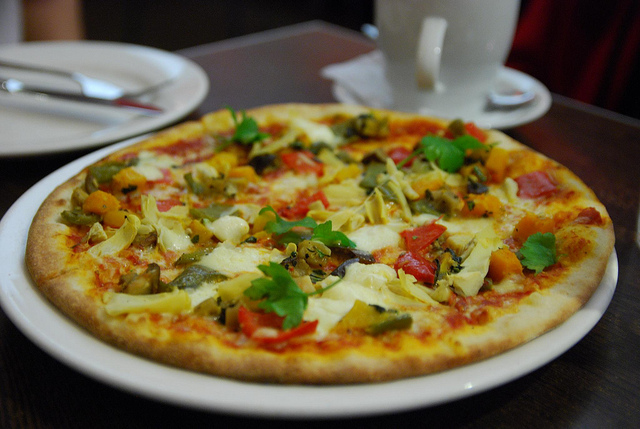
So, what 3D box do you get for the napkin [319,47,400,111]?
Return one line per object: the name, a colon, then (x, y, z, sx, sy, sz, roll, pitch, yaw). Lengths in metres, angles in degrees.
napkin: (0.204, -0.703, 2.915, 0.375, 0.047, 0.420, -11, 54, -18)
